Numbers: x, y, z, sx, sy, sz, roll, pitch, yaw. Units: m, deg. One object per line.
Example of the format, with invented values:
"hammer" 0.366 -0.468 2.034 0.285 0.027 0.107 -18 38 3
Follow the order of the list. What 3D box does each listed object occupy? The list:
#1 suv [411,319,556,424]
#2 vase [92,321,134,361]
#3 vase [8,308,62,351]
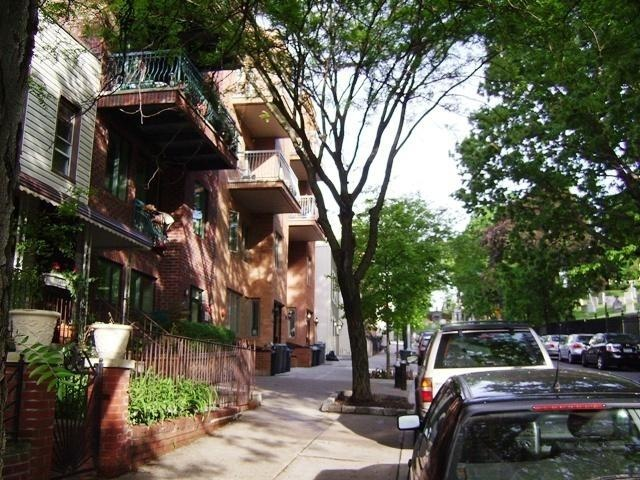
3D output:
"suv" 2.356 1.908 7.857 1.218 1.151 2.065 0 -6 -1
"vase" -3.126 1.513 8.122 0.600 0.581 0.623 6 -12 -30
"vase" -4.563 1.448 8.582 0.732 0.621 0.782 -11 -17 34
